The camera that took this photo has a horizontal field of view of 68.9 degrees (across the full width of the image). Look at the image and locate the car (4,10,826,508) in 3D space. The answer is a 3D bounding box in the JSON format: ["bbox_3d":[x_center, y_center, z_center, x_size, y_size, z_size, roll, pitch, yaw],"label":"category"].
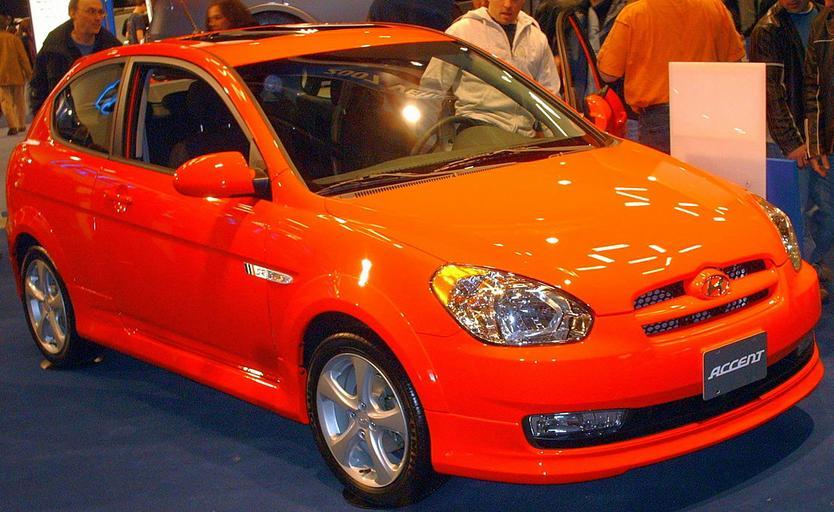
[{"bbox_3d":[-0.464,-0.112,3.598,4.251,1.822,2.629,14,19,42],"label":"car"}]

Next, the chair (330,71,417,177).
[{"bbox_3d":[-0.255,-0.841,3.678,0.438,0.729,0.218,4,-8,-11],"label":"chair"}]

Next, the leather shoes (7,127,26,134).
[{"bbox_3d":[-9.192,-2.851,13.981,0.207,0.167,0.458,12,6,-3],"label":"leather shoes"}]
